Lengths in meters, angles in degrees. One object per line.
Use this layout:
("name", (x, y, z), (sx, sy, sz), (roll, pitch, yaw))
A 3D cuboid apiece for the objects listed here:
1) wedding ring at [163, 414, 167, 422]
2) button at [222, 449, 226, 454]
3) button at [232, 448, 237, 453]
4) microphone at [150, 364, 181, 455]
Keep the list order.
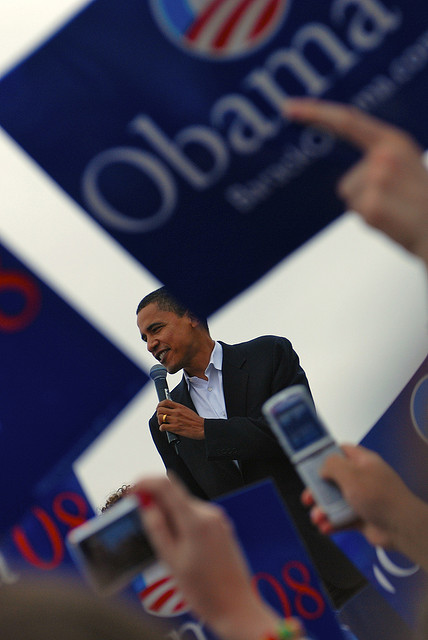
("wedding ring", (-0.197, 0.390, 2.446), (0.018, 0.022, 0.025), (-4, 14, 2))
("button", (0.039, 0.520, 2.427), (0.017, 0.015, 0.014), (-6, 48, -5))
("button", (0.080, 0.515, 2.430), (0.022, 0.005, 0.018), (0, 89, -6))
("microphone", (-0.202, 0.322, 2.498), (0.076, 0.063, 0.306), (-17, 74, 3))
